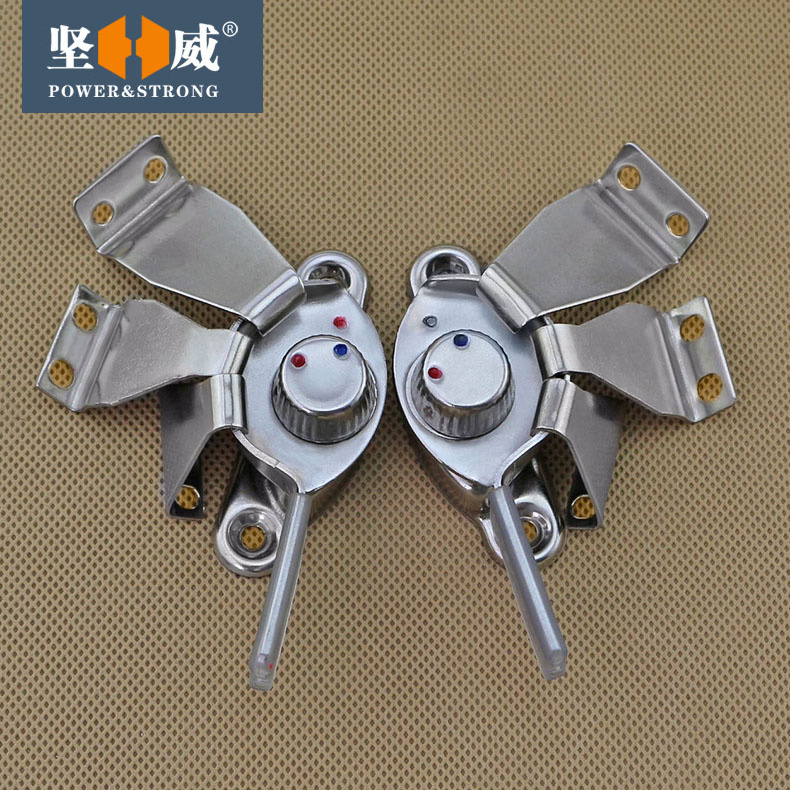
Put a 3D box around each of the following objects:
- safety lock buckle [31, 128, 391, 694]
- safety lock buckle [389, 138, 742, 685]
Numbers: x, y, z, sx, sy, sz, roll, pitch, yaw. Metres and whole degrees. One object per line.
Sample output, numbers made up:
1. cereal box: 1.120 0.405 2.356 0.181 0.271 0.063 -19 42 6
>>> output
1. safety lock buckle: -0.097 0.023 0.753 0.203 0.135 0.419 -12 65 -21
2. safety lock buckle: 0.108 0.025 0.895 0.366 0.109 0.277 -41 90 -14
